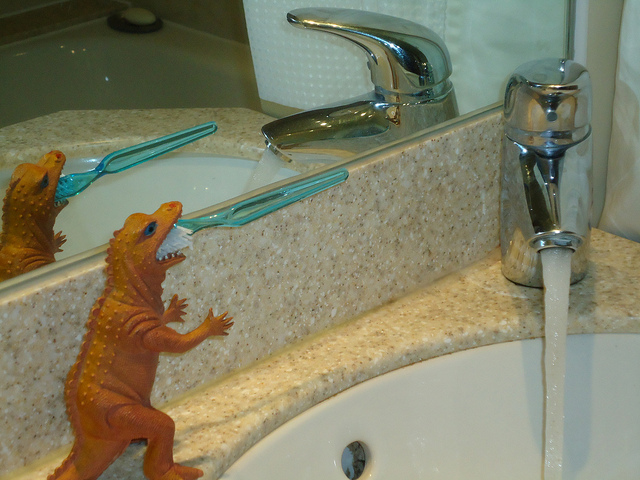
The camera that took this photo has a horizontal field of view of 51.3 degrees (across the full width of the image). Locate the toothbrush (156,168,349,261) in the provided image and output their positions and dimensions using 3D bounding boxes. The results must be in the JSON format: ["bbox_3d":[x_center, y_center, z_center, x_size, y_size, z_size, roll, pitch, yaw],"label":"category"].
[{"bbox_3d":[-0.074,-0.028,0.660,0.169,0.030,0.018,-26,31,-19],"label":"toothbrush"}]
